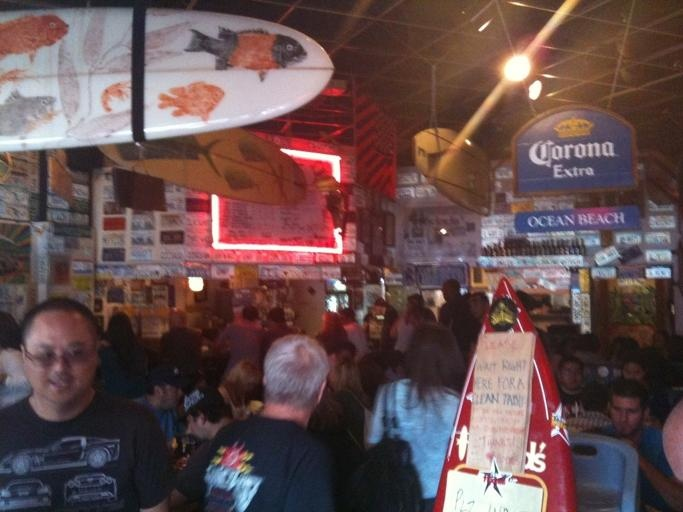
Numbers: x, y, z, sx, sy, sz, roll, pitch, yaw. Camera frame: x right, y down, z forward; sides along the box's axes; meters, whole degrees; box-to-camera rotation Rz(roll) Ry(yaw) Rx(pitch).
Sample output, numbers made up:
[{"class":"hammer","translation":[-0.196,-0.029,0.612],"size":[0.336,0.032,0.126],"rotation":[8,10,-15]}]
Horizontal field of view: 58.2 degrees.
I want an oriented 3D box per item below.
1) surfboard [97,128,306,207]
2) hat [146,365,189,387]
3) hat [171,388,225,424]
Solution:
[{"class":"surfboard","translation":[-1.111,-0.722,5.760],"size":[2.111,0.687,0.290],"rotation":[12,-23,-27]},{"class":"hat","translation":[-1.239,0.852,4.353],"size":[0.214,0.104,0.151],"rotation":[4,-2,-10]},{"class":"hat","translation":[-0.921,0.986,4.047],"size":[0.260,0.135,0.181],"rotation":[2,-4,5]}]
